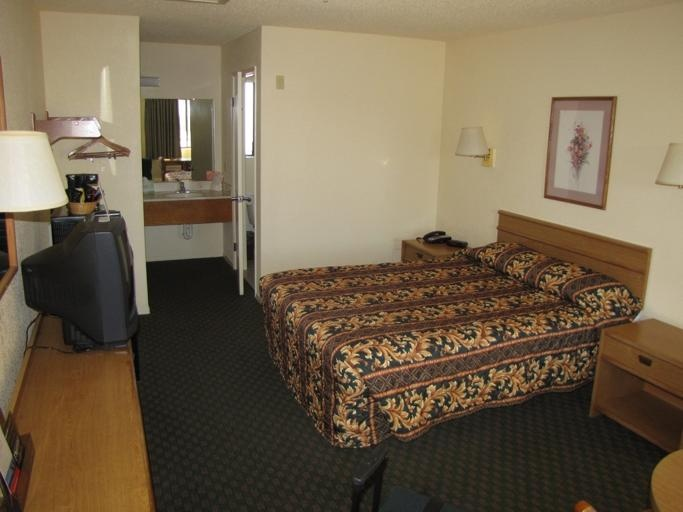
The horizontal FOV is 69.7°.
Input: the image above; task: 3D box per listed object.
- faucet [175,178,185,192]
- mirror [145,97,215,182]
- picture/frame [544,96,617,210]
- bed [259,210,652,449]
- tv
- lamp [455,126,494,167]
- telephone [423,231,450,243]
[{"bbox_3d":[-2.219,-0.964,6.786,0.163,0.168,0.149,-4,15,-24],"label":"faucet"},{"bbox_3d":[-2.226,-1.619,6.648,1.120,1.295,0.107,-4,12,-31],"label":"mirror"},{"bbox_3d":[2.093,-0.921,4.346,0.149,0.938,0.687,-6,16,-19],"label":"picture/frame"},{"bbox_3d":[0.717,0.352,4.526,2.748,1.297,2.530,-6,16,-21],"label":"bed"},{"bbox_3d":[-1.595,0.140,3.000,0.603,0.664,0.738,-6,14,-26],"label":"tv"},{"bbox_3d":[1.430,-1.139,5.159,0.310,0.412,0.494,10,18,34],"label":"lamp"},{"bbox_3d":[1.097,-0.216,5.671,0.185,0.059,0.181,-7,13,-16],"label":"telephone"}]
